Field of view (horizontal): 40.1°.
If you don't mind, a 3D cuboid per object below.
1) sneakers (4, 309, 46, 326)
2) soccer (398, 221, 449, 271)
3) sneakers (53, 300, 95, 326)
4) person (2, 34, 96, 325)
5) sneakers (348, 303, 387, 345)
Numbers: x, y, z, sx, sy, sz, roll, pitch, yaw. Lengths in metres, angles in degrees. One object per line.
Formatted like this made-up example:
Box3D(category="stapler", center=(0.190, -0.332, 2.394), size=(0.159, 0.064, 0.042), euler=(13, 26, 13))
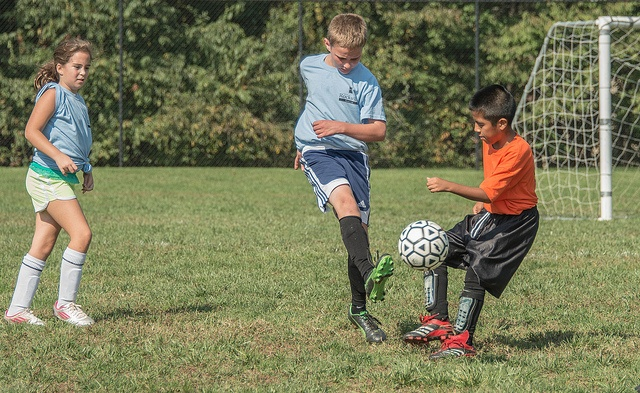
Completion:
Box3D(category="sneakers", center=(-3.937, 1.584, 11.818), size=(0.616, 0.281, 0.208), euler=(3, 3, -2))
Box3D(category="soccer", center=(1.390, 0.689, 11.728), size=(0.654, 0.621, 0.634), euler=(-4, -13, 10))
Box3D(category="sneakers", center=(-3.309, 1.545, 11.847), size=(0.632, 0.263, 0.229), euler=(19, 17, 7))
Box3D(category="person", center=(-3.563, -0.212, 11.720), size=(1.012, 3.789, 0.743), euler=(0, 6, -19))
Box3D(category="sneakers", center=(0.609, 1.694, 11.740), size=(0.644, 0.268, 0.270), euler=(38, 50, 26))
